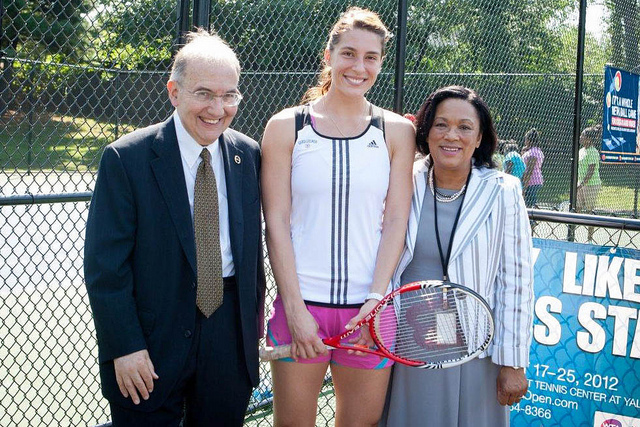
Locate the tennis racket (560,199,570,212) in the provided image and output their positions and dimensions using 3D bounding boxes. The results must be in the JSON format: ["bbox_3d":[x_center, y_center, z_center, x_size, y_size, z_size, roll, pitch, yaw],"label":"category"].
[{"bbox_3d":[3.700,-0.125,9.695,0.042,0.229,0.211,12,17,-5],"label":"tennis racket"}]

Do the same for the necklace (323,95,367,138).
[{"bbox_3d":[0.184,-0.697,4.644,0.274,0.416,0.018,4,-27,-6],"label":"necklace"}]

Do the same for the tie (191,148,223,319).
[{"bbox_3d":[-0.727,0.145,4.298,0.189,1.091,0.234,-1,-2,-4],"label":"tie"}]
